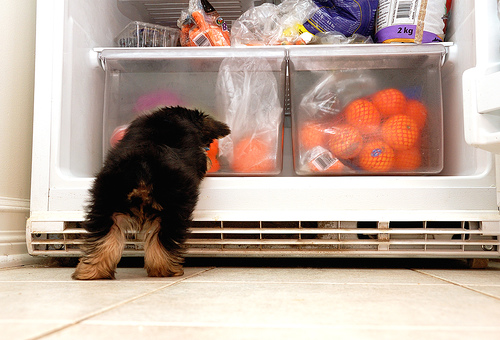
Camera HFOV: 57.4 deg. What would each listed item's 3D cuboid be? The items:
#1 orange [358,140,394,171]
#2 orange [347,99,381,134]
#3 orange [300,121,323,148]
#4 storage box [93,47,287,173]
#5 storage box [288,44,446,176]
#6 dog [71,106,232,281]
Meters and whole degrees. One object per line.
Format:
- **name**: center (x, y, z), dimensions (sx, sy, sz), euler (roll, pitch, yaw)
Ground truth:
- **orange**: center (0.441, -0.049, 1.689), dimensions (0.121, 0.128, 0.109), euler (6, 19, 8)
- **orange**: center (0.403, -0.187, 1.621), dimensions (0.100, 0.123, 0.071), euler (-22, 2, 19)
- **orange**: center (0.215, -0.128, 1.701), dimensions (0.094, 0.086, 0.090), euler (1, 4, -3)
- **storage box**: center (-0.168, -0.209, 1.879), dimensions (0.753, 0.467, 0.436), euler (2, 1, 10)
- **storage box**: center (0.424, -0.211, 1.676), dimensions (0.516, 0.348, 0.498), euler (-1, 2, 3)
- **dog**: center (-0.298, 0.054, 1.462), dimensions (0.468, 0.538, 0.270), euler (0, 1, -3)
